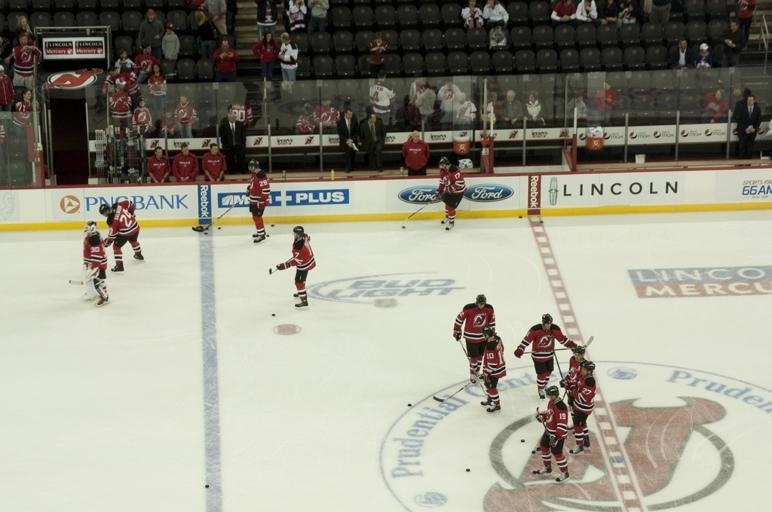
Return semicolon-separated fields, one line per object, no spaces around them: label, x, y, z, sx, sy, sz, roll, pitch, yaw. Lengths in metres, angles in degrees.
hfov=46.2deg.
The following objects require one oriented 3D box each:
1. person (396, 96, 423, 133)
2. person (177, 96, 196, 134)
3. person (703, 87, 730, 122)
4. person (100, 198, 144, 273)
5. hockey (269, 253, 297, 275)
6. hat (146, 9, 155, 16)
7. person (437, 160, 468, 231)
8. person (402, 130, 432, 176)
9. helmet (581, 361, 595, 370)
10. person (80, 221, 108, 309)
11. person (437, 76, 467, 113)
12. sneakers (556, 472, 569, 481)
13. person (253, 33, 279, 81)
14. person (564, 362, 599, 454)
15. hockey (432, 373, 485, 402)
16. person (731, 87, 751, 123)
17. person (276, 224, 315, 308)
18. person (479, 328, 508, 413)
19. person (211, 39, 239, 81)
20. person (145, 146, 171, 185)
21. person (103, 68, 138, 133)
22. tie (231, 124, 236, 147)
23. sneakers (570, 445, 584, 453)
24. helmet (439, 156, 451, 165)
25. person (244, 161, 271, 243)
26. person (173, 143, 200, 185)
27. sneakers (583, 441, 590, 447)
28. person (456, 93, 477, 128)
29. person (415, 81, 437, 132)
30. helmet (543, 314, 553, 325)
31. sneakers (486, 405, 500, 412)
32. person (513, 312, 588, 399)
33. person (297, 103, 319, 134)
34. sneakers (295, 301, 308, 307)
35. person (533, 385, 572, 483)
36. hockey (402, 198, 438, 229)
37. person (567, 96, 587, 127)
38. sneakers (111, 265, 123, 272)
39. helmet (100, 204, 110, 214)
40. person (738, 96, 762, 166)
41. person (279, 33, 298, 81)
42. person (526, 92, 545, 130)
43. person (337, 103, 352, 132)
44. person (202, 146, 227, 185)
person;0.577;-3.911;24.685;0.876;1.249;0.796;-3;39;-3
person;-5.356;-3.686;24.154;0.484;1.096;0.171;-6;11;-14
person;8.898;-4.063;24.457;0.582;0.822;0.518;31;39;23
person;-6.417;-0.422;21.806;1.033;1.751;0.831;2;49;-14
hockey;-2.479;0.246;20.556;1.029;0.339;0.302;-21;-23;38
hat;-6.918;-7.149;26.573;0.248;0.109;0.346;-1;1;-6
person;1.679;-1.583;23.261;0.674;1.836;0.663;-1;11;17
person;0.842;-2.495;24.543;0.725;1.868;0.530;4;32;14
helmet;3.791;2.047;16.940;0.258;0.185;0.298;-3;10;3
person;-6.635;0.162;20.590;0.505;1.851;0.809;-7;11;-19
person;1.731;-4.308;24.334;0.643;0.853;0.341;-4;16;-5
sneakers;3.234;4.021;16.512;0.302;0.185;0.100;-3;30;1
person;-3.525;-5.851;26.636;0.694;1.379;0.493;-3;10;4
person;3.708;2.917;17.100;0.659;1.981;0.676;-3;36;-6
hockey;1.452;2.767;18.439;0.882;0.457;0.499;-17;28;-23
person;9.582;-4.112;24.358;0.209;0.752;0.550;18;13;-14
person;-2.059;0.199;20.448;0.996;1.825;0.857;4;23;9
person;2.118;2.233;17.935;0.482;1.642;0.551;-2;10;7
person;-4.651;-5.374;26.171;0.670;1.676;0.603;-6;27;-20
person;-6.085;-2.076;24.178;0.724;1.595;0.559;-2;5;-13
person;-7.168;-4.198;24.574;0.829;1.501;1.531;-6;10;-15
tie;-4.089;-3.258;24.299;0.145;0.566;0.072;-6;10;-13
sneakers;3.611;3.625;17.082;0.313;0.192;0.109;2;7;14
helmet;1.496;-2.428;23.045;0.262;0.131;0.357;1;7;7
person;-3.239;-1.400;23.041;0.616;2.029;0.861;-5;10;-7
person;-5.350;-2.335;24.033;0.667;1.215;0.651;5;36;-1
sneakers;3.808;3.527;17.123;0.084;0.096;0.140;14;30;37
person;2.214;-3.824;24.369;0.557;0.754;0.201;-1;12;-4
person;1.096;-4.004;24.390;0.566;1.262;0.134;-5;10;-10
helmet;3.207;1.253;17.823;0.163;0.186;0.210;2;-28;-3
sneakers;2.131;2.995;17.867;0.252;0.107;0.091;-6;32;-4
person;3.159;1.985;18.044;1.341;1.763;0.716;-2;15;-1
person;-2.136;-3.700;24.428;0.601;0.781;0.309;0;10;-5
sneakers;-1.903;1.087;20.438;0.291;0.125;0.107;1;7;9
person;3.044;3.225;16.608;0.596;1.721;0.629;-1;11;17
hockey;0.788;-1.105;23.839;1.136;0.595;0.497;-13;13;-43
person;5.186;-3.878;24.421;0.530;0.806;0.125;-2;10;11
sneakers;-6.396;0.293;21.565;0.297;0.208;0.122;4;9;12
helmet;-6.598;-1.086;21.150;0.217;0.189;0.161;-29;7;43
person;9.849;-3.400;24.491;0.685;1.954;0.625;4;30;19
person;-2.850;-5.797;26.389;0.595;1.317;0.626;-5;10;-7
person;4.045;-3.953;24.483;0.523;0.850;0.306;-1;18;5
person;-1.092;-3.753;24.338;0.405;0.739;0.185;-5;10;-6
person;-4.605;-2.449;24.208;0.738;1.342;0.751;-5;40;-10
